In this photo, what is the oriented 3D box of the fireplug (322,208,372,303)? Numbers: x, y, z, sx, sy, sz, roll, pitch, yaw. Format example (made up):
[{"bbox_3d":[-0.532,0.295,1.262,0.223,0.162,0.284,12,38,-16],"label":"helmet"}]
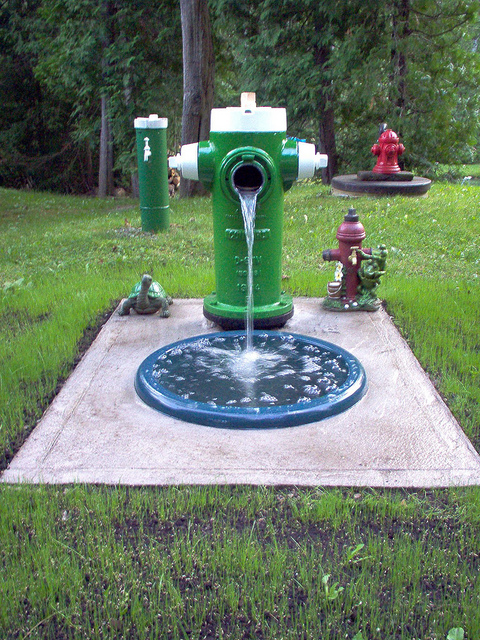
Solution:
[{"bbox_3d":[0.679,-0.481,4.611,0.231,0.728,0.306,-1,15,-11],"label":"fireplug"}]

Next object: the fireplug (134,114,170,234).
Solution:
[{"bbox_3d":[-0.982,-1.601,7.755,0.338,1.317,0.591,-2,13,-9],"label":"fireplug"}]

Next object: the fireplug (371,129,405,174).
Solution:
[{"bbox_3d":[2.315,-2.672,11.085,0.491,0.646,0.527,3,14,13],"label":"fireplug"}]

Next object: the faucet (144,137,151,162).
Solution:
[{"bbox_3d":[-1.011,-1.833,7.513,0.069,0.258,0.072,-4,12,-15],"label":"faucet"}]

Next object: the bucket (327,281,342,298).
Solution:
[{"bbox_3d":[0.621,-0.197,4.653,0.074,0.104,0.091,-3,9,-4],"label":"bucket"}]

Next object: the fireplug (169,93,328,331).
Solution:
[{"bbox_3d":[0.034,-0.664,4.141,0.693,1.445,0.619,-3,28,-5],"label":"fireplug"}]

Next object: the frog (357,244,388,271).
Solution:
[{"bbox_3d":[0.867,-0.404,4.583,0.143,0.209,0.141,-6,16,3],"label":"frog"}]
